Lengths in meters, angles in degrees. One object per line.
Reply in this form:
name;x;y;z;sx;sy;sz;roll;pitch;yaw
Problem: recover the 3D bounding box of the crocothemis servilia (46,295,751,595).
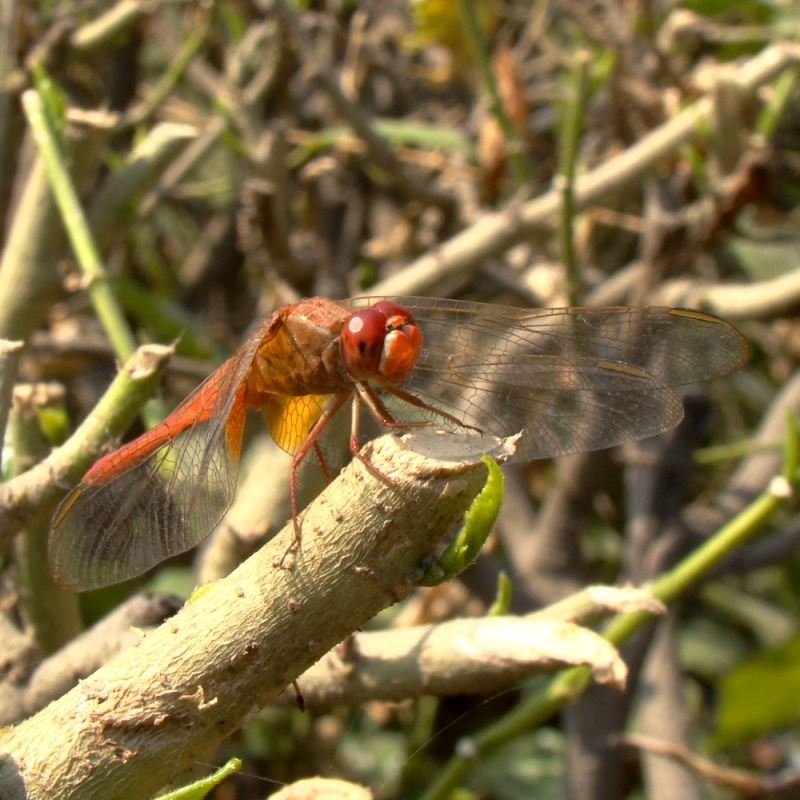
crocothemis servilia;-0.091;0.036;1.747;1.130;0.786;0.402;-7;96;3
